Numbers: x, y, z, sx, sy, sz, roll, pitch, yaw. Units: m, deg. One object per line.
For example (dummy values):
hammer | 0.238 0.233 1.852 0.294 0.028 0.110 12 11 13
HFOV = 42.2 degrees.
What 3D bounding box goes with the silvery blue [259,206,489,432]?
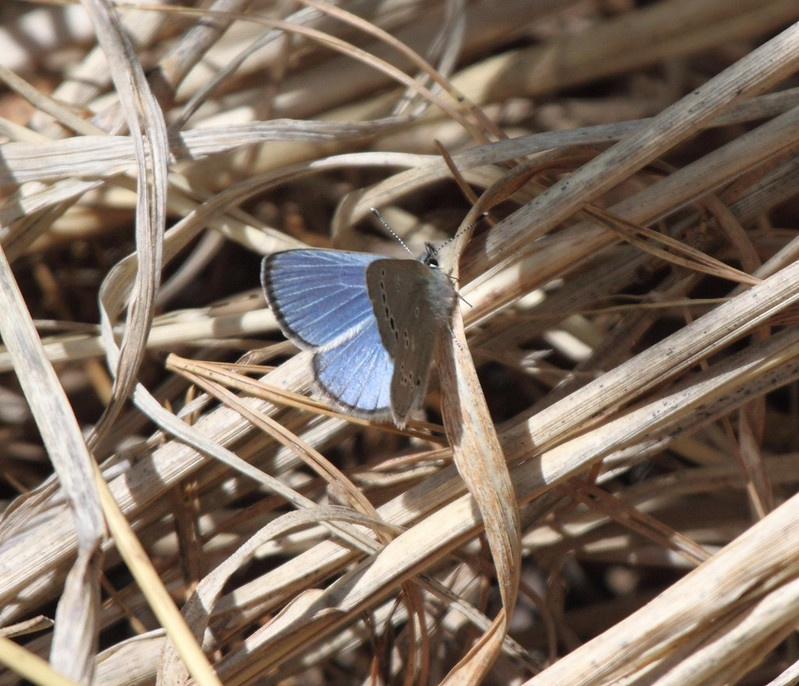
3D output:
silvery blue | -0.051 -0.039 1.456 0.269 0.357 0.202 -37 -57 3
